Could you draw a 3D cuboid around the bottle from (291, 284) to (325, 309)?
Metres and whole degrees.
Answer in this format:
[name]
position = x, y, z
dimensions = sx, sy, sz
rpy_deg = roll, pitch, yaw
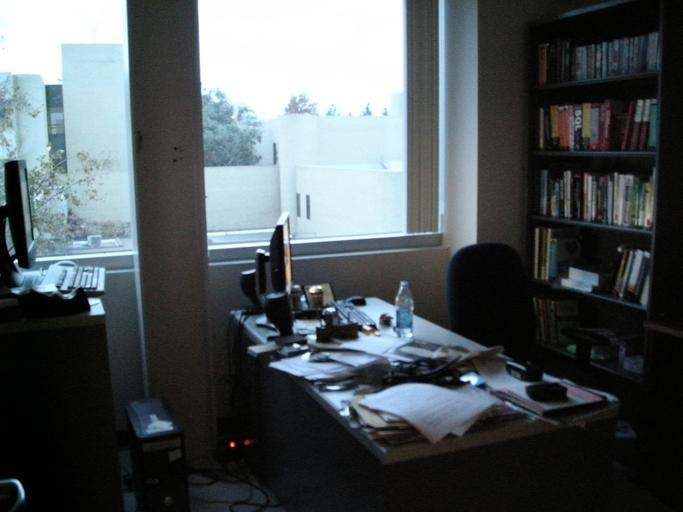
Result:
[bottle]
position = -0.208, 0.240, 3.337
dimensions = 0.148, 0.111, 0.147
rpy_deg = -1, 0, 0

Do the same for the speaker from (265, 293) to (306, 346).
[speaker]
position = -0.283, 0.331, 2.872
dimensions = 0.191, 0.247, 0.145
rpy_deg = -7, 8, -31

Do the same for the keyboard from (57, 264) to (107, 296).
[keyboard]
position = -1.343, 0.128, 2.891
dimensions = 0.161, 0.048, 0.242
rpy_deg = 1, 18, -15

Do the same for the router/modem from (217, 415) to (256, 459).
[router/modem]
position = -0.717, 1.130, 3.536
dimensions = 0.210, 0.143, 0.340
rpy_deg = -1, 4, -25

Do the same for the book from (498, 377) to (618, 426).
[book]
position = 0.831, 0.574, 2.182
dimensions = 0.309, 0.075, 0.311
rpy_deg = -6, 12, -29
